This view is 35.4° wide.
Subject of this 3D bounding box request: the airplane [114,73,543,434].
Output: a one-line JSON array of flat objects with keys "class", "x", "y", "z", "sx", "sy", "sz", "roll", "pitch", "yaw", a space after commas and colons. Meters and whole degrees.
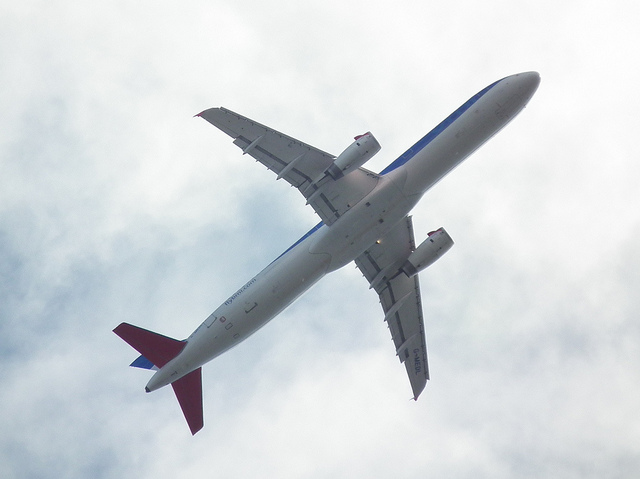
[{"class": "airplane", "x": 0.531, "y": 0.366, "z": 69.385, "sx": 20.806, "sy": 20.968, "sz": 19.728, "roll": 14, "pitch": -52, "yaw": 15}]
